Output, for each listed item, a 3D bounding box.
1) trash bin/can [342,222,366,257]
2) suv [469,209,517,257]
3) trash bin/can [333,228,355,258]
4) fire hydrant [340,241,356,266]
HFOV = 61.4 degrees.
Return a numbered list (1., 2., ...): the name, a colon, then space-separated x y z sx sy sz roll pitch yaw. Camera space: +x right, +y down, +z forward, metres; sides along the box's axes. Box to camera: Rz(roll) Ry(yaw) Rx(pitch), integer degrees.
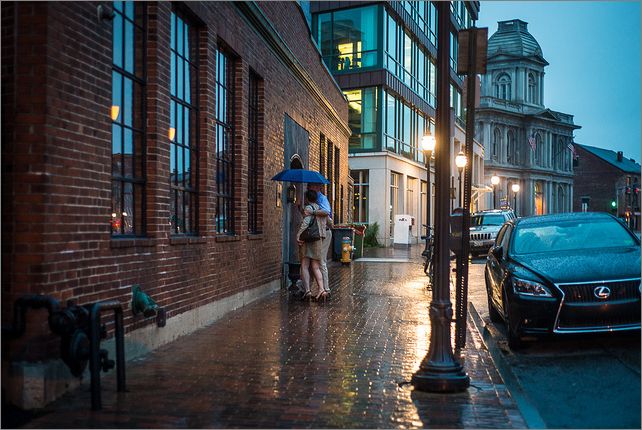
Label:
1. trash bin/can: 1.553 1.072 23.596 1.245 1.869 1.276 -1 1 -1
2. suv: 7.819 0.732 25.529 2.238 2.219 5.209 -4 -4 22
3. trash bin/can: 0.773 1.145 21.610 0.958 1.632 1.106 -1 0 10
4. fire hydrant: 0.960 1.409 19.882 0.643 1.100 0.851 -1 -1 10
